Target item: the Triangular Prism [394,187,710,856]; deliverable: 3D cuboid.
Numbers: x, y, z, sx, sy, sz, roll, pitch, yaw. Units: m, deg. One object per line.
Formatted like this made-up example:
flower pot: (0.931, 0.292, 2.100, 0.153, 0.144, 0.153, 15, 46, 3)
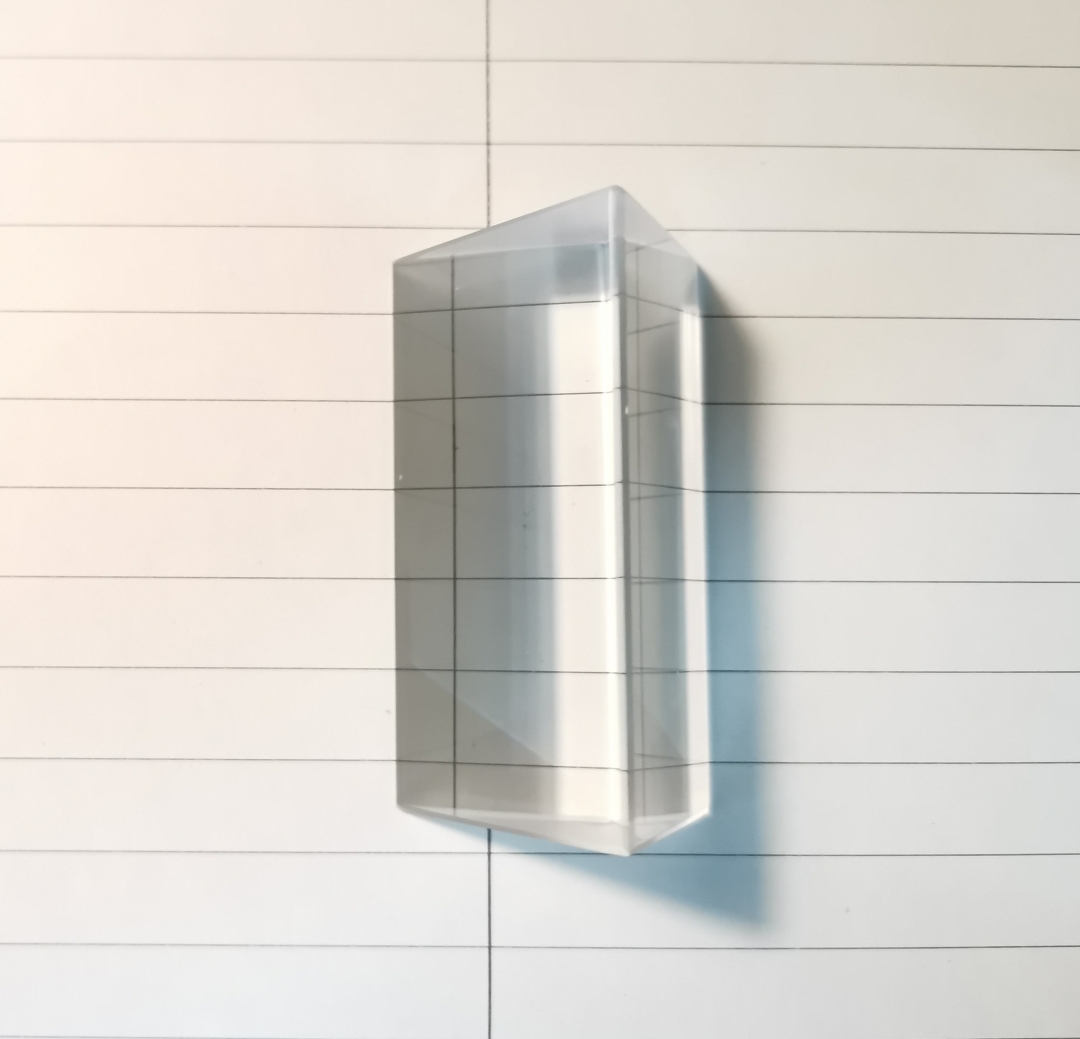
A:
Triangular Prism: (0.027, 0.032, 2.761, 0.511, 0.967, 0.546, -1, -21, -5)
